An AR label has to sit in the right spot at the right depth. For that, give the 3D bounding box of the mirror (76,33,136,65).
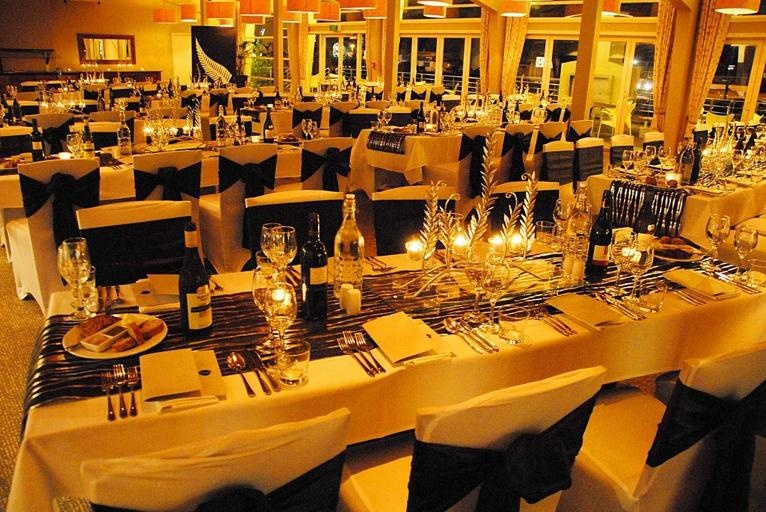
[{"bbox_3d":[-8.917,-6.729,16.497,0.049,0.770,1.303,20,26,40],"label":"mirror"}]

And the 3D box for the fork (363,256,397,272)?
[{"bbox_3d":[-0.023,0.043,2.801,0.061,0.034,0.228,-6,16,-20],"label":"fork"}]

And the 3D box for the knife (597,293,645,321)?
[{"bbox_3d":[1.155,0.232,2.524,0.060,0.050,0.349,-17,23,-1],"label":"knife"}]

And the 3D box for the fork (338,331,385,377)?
[{"bbox_3d":[-0.091,0.394,2.102,0.096,0.035,0.239,-9,35,-18],"label":"fork"}]

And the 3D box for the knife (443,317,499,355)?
[{"bbox_3d":[0.391,0.328,2.215,0.085,0.042,0.318,-9,21,-19],"label":"knife"}]

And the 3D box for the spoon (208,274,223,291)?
[{"bbox_3d":[-0.822,0.120,2.532,0.052,0.015,0.179,-5,11,-16],"label":"spoon"}]

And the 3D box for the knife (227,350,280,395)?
[{"bbox_3d":[-0.492,0.437,1.971,0.105,0.030,0.264,-5,21,-26],"label":"knife"}]

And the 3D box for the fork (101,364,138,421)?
[{"bbox_3d":[-0.928,0.459,1.830,0.097,0.026,0.234,1,40,-15],"label":"fork"}]

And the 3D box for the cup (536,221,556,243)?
[{"bbox_3d":[0.994,-0.158,3.229,0.129,0.132,0.133,-3,13,1],"label":"cup"}]

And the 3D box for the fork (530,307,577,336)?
[{"bbox_3d":[0.792,0.294,2.396,0.070,0.030,0.266,-14,28,-11],"label":"fork"}]

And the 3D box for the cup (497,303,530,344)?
[{"bbox_3d":[0.570,0.306,2.305,0.127,0.123,0.144,-1,5,-6],"label":"cup"}]

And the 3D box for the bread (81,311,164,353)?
[{"bbox_3d":[-1.020,0.311,2.032,0.142,0.049,0.246,9,17,27],"label":"bread"}]
